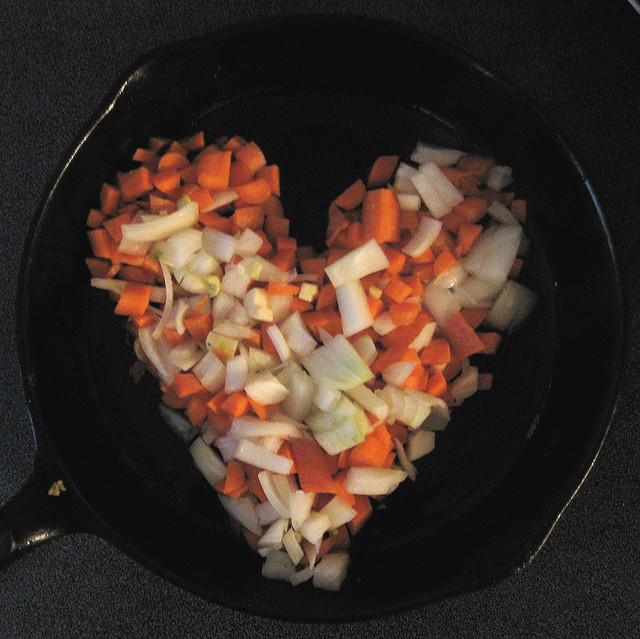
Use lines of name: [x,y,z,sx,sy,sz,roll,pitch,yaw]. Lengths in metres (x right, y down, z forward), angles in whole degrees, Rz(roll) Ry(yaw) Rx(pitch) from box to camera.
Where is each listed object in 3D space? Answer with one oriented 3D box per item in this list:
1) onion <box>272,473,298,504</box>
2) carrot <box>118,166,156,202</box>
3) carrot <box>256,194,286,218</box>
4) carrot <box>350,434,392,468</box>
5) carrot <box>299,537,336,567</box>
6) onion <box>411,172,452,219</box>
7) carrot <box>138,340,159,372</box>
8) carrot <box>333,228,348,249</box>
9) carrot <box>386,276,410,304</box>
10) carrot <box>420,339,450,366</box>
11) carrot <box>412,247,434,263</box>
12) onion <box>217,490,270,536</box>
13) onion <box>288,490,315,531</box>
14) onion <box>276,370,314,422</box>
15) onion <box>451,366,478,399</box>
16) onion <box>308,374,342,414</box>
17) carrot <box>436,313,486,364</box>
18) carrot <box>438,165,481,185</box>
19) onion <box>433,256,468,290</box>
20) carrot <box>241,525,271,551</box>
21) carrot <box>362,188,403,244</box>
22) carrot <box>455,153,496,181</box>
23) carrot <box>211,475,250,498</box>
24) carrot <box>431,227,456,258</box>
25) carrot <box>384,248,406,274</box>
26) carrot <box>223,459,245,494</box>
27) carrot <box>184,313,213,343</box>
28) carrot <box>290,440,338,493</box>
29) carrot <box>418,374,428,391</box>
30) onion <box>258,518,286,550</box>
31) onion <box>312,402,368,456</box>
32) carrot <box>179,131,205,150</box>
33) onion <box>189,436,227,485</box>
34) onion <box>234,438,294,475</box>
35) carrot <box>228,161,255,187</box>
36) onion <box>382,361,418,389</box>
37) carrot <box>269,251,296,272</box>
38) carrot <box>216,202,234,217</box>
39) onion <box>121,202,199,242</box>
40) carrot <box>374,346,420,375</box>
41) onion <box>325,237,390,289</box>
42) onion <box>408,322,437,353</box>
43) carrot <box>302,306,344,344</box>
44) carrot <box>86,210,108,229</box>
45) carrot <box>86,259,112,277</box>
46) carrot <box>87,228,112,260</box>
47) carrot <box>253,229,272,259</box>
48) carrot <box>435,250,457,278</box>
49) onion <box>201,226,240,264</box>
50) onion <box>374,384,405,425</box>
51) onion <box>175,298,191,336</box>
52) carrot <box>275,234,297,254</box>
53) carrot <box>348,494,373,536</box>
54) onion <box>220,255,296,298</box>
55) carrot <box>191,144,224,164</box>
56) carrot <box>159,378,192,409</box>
onion: [-0.073,0.335,1.489,0.049,0.015,0.054,-34,93,-37]
carrot: [-0.375,-0.279,1.530,0.055,0.035,0.044,-27,89,39]
carrot: [-0.096,-0.237,1.565,0.041,0.014,0.046,-37,101,-21]
carrot: [0.095,0.261,1.463,0.065,0.017,0.065,-44,110,2]
carrot: [-0.009,0.471,1.523,0.019,0.025,0.086,42,110,-5]
onion: [0.229,-0.259,1.556,0.054,0.026,0.112,-32,91,-11]
carrot: [-0.365,0.074,1.562,0.019,0.056,0.046,-24,36,-4]
carrot: [0.040,-0.172,1.572,0.011,0.035,0.037,16,97,33]
carrot: [0.154,-0.062,1.482,0.038,0.040,0.044,-35,106,-3]
carrot: [0.228,0.064,1.502,0.057,0.025,0.047,-11,86,0]
carrot: [0.217,-0.135,1.524,0.027,0.007,0.031,-4,102,-13]
onion: [-0.161,0.394,1.547,0.031,0.080,0.101,-23,99,-46]
onion: [-0.041,0.370,1.467,0.052,0.034,0.078,10,86,1]
onion: [-0.044,0.145,1.469,0.064,0.033,0.099,-1,98,4]
onion: [0.307,0.136,1.578,0.047,0.024,0.073,-1,109,-19]
onion: [0.009,0.141,1.452,0.063,0.019,0.061,37,117,25]
carrot: [0.285,0.058,1.554,0.084,0.089,0.023,-33,89,17]
carrot: [0.286,-0.306,1.590,0.117,0.033,0.038,-1,91,-23]
onion: [0.275,-0.096,1.554,0.071,0.015,0.052,-30,109,-8]
carrot: [-0.134,0.451,1.554,0.041,0.054,0.064,-6,77,0]
carrot: [0.125,-0.206,1.536,0.068,0.083,0.120,2,84,22]
carrot: [0.337,-0.334,1.614,0.074,0.020,0.052,27,72,11]
carrot: [-0.187,0.343,1.542,0.049,0.054,0.016,-6,114,2]
carrot: [0.255,-0.165,1.568,0.056,0.018,0.061,10,89,-38]
carrot: [0.149,-0.122,1.505,0.041,0.032,0.043,-45,83,7]
carrot: [-0.170,0.313,1.498,0.046,0.018,0.065,5,82,-25]
carrot: [-0.240,0.013,1.502,0.041,0.056,0.056,-15,115,8]
carrot: [-0.001,0.296,1.467,0.083,0.154,0.030,-13,112,1]
carrot: [0.206,0.126,1.507,0.007,0.025,0.028,2,115,29]
onion: [-0.094,0.427,1.515,0.057,0.027,0.067,5,82,38]
onion: [0.039,0.208,1.450,0.087,0.030,0.096,-28,78,9]
carrot: [-0.272,-0.381,1.589,0.048,0.021,0.032,-3,94,2]
onion: [-0.231,0.291,1.550,0.054,0.032,0.111,-38,81,20]
onion: [-0.111,0.262,1.498,0.107,0.042,0.058,23,122,-2]
carrot: [-0.166,-0.301,1.539,0.047,0.012,0.051,-6,83,13]
onion: [0.154,0.108,1.473,0.057,0.024,0.045,-31,78,6]
carrot: [-0.072,-0.122,1.513,0.036,0.028,0.042,4,70,7]
carrot: [-0.191,-0.233,1.546,0.028,0.030,0.007,-21,36,-15]
onion: [-0.314,-0.184,1.471,0.135,0.039,0.079,-23,76,-7]
carrot: [0.148,0.081,1.482,0.057,0.017,0.059,-38,70,-2]
onion: [0.074,-0.108,1.488,0.124,0.032,0.061,-30,86,-2]
onion: [0.201,0.037,1.506,0.016,0.058,0.059,34,42,22]
carrot: [0.009,0.002,1.492,0.059,0.049,0.070,-13,72,0]
carrot: [-0.456,-0.210,1.535,0.035,0.037,0.039,7,100,-10]
carrot: [-0.458,-0.110,1.544,0.038,0.011,0.041,1,103,16]
carrot: [-0.448,-0.159,1.526,0.035,0.032,0.068,-16,112,-21]
carrot: [-0.116,-0.164,1.559,0.034,0.049,0.048,-19,49,-33]
carrot: [0.251,-0.118,1.534,0.056,0.037,0.033,-41,86,-2]
onion: [-0.205,-0.152,1.504,0.084,0.031,0.051,41,98,17]
onion: [0.136,0.165,1.468,0.051,0.028,0.076,5,84,-20]
onion: [-0.274,-0.009,1.495,0.030,0.015,0.085,12,47,-16]
carrot: [-0.069,-0.156,1.525,0.041,0.031,0.035,0,69,-12]
carrot: [0.080,0.413,1.559,0.019,0.077,0.083,7,103,14]
onion: [-0.112,-0.084,1.513,0.092,0.094,0.039,9,107,38]
carrot: [-0.235,-0.345,1.554,0.070,0.017,0.022,-31,34,8]
carrot: [-0.308,0.154,1.566,0.064,0.017,0.056,16,115,14]
